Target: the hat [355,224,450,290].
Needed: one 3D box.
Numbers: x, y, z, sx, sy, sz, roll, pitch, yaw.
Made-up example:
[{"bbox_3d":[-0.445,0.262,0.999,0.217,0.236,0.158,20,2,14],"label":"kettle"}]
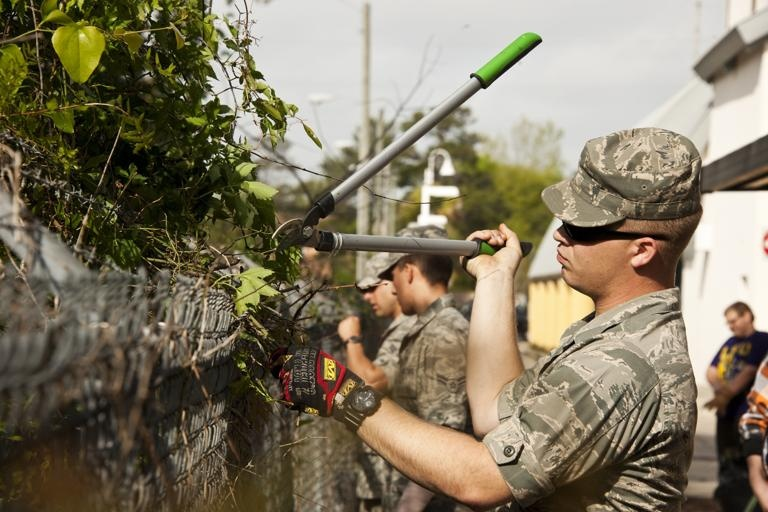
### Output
[{"bbox_3d":[0.087,0.035,7.983,0.490,0.296,0.382,-10,-6,-1],"label":"hat"}]
